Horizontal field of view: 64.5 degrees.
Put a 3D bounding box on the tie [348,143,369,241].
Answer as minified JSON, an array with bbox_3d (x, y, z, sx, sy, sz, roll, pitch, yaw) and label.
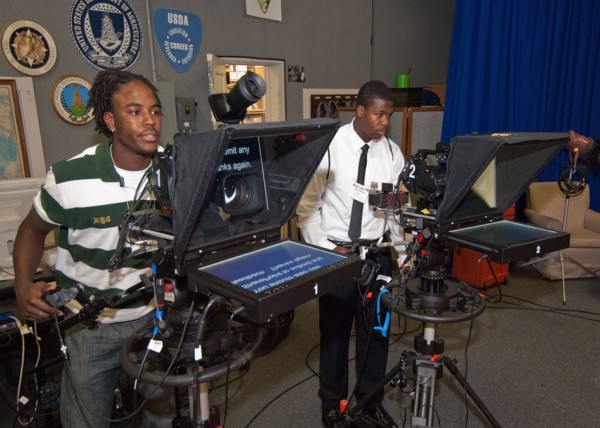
[{"bbox_3d":[0.383,-0.143,2.982,0.098,0.629,0.065,16,-9,-19],"label":"tie"}]

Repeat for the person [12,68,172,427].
[{"bbox_3d":[-1.024,0.335,2.467,0.782,2.033,0.690,-10,22,-27],"label":"person"}]
